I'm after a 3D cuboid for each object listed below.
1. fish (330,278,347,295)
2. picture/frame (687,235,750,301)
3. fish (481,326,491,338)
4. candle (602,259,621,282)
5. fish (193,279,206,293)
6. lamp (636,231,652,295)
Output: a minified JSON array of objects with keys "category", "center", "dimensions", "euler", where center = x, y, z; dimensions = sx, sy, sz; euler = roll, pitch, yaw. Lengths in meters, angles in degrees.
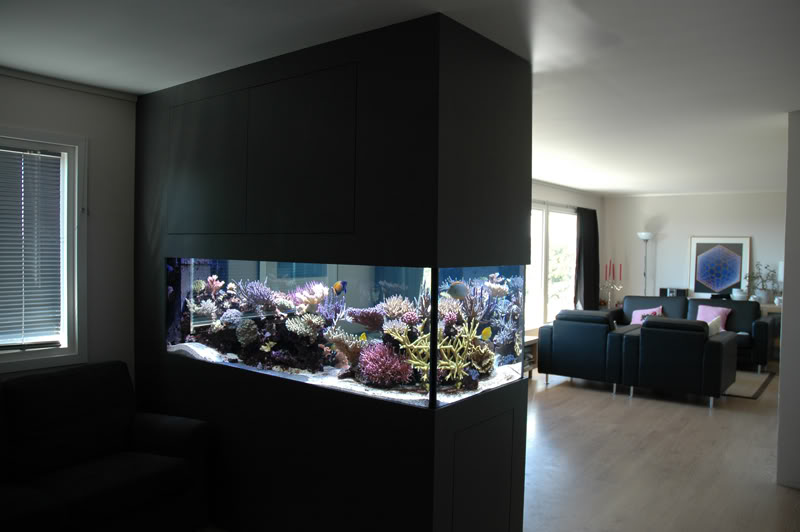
[{"category":"fish","center":[-0.422,0.150,3.991],"dimensions":[0.084,0.109,0.082],"euler":[15,6,35]},{"category":"picture/frame","center":[5.247,0.048,9.320],"dimensions":[0.045,1.211,1.013],"euler":[8,-8,-43]},{"category":"fish","center":[0.590,0.458,3.893],"dimensions":[0.097,0.079,0.019],"euler":[-6,10,-43]},{"category":"candle","center":[3.918,0.093,10.513],"dimensions":[0.369,0.381,0.071],"euler":[6,9,39]},{"category":"fish","center":[-1.675,0.175,4.761],"dimensions":[0.133,0.114,0.017],"euler":[6,9,39]},{"category":"lamp","center":[4.265,-0.050,10.086],"dimensions":[0.268,1.106,0.293],"euler":[7,9,41]}]
